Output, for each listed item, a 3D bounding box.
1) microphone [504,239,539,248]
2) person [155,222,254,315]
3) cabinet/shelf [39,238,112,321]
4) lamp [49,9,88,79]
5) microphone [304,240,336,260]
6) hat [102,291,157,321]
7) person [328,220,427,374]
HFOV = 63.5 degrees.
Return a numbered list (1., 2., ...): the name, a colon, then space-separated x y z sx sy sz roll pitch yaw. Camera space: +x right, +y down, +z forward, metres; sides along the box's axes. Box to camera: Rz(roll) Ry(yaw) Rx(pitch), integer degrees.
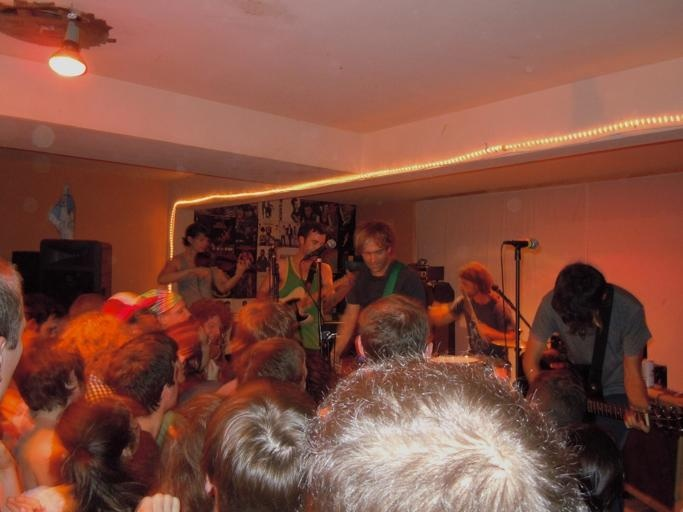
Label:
1. microphone: 1.283 -0.082 3.927 0.185 0.057 0.325 -1 -1 25
2. person: -1.674 0.433 6.626 0.973 1.712 0.549 -13 32 -37
3. cabinet/shelf: -2.164 0.116 4.441 0.479 0.803 0.491 10 28 -12
4. lamp: -1.489 -1.147 3.001 0.171 0.321 0.231 0 -1 -28
5. microphone: -0.203 -0.056 4.911 0.071 0.084 0.232 31 -51 -27
6. hat: -1.386 0.316 3.626 0.252 0.105 0.196 -10 20 -23
7. person: 0.283 0.657 4.578 0.735 1.720 0.664 -5 18 5
